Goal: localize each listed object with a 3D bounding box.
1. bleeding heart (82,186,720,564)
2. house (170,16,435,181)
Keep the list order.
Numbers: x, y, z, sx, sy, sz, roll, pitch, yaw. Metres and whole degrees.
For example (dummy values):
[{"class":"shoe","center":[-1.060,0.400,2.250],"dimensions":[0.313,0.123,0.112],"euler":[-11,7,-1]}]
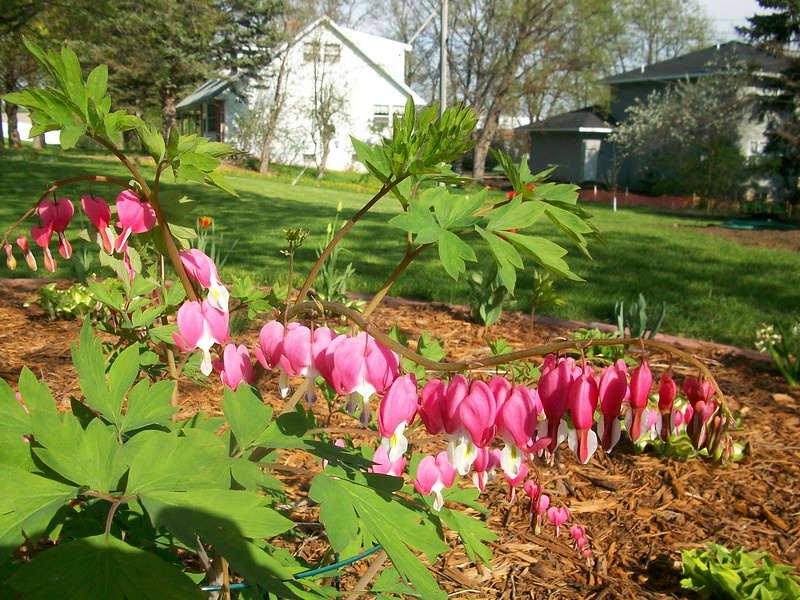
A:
[{"class":"bleeding heart","center":[0.179,0.460,2.667],"dimensions":[2.020,1.048,1.109],"euler":[4,9,-16]},{"class":"house","center":[-4.623,-10.581,34.469],"dimensions":[10.144,7.797,10.085],"euler":[5,9,-7]}]
